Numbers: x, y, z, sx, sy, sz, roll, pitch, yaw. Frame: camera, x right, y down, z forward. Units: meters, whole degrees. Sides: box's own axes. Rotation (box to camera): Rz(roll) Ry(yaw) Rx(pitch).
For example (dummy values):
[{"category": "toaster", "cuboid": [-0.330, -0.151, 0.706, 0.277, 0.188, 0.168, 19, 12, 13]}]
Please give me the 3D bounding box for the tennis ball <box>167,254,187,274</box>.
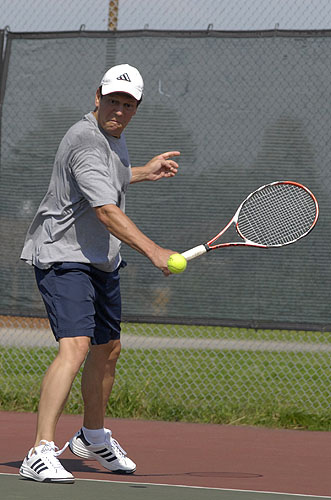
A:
[{"category": "tennis ball", "cuboid": [0.038, 0.042, 2.198, 0.061, 0.058, 0.060, -4, 33, 3]}]
